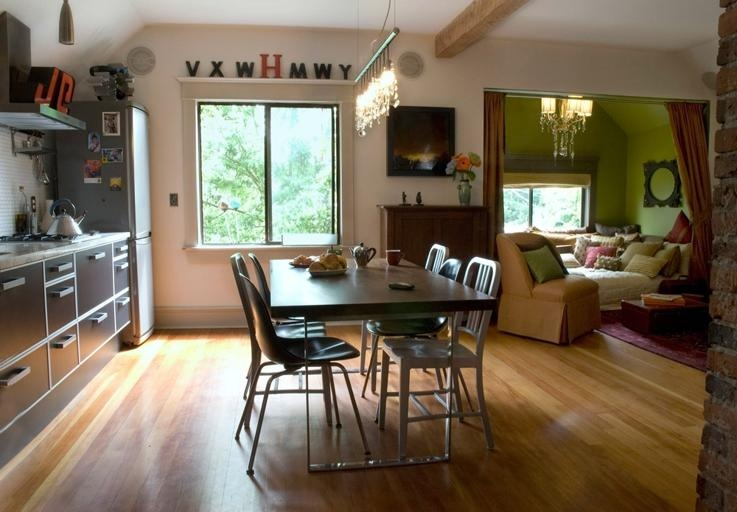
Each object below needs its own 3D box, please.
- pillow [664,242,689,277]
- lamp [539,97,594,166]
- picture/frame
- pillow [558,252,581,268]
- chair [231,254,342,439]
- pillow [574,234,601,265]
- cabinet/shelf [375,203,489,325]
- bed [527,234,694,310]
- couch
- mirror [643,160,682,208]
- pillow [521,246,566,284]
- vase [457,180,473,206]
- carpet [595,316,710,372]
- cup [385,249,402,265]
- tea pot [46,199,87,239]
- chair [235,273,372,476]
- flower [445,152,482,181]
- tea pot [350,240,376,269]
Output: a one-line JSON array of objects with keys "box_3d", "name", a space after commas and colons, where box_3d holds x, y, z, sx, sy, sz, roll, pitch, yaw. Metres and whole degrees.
[{"box_3d": [3.951, 0.057, 7.007, 0.112, 0.391, 0.395, 7, 7, 0], "name": "pillow"}, {"box_3d": [2.944, -1.871, 8.088, 0.737, 1.254, 0.778, -8, 13, -32], "name": "lamp"}, {"box_3d": [0.557, -1.320, 6.095, 0.766, 0.790, 0.076, 0, 3, -9], "name": "picture/frame"}, {"box_3d": [2.867, 0.074, 7.714, 0.331, 0.122, 0.429, 1, 17, 3], "name": "pillow"}, {"box_3d": [-0.782, 0.559, 4.268, 1.044, 1.654, 1.009, -1, 0, -8], "name": "chair"}, {"box_3d": [3.168, -0.068, 7.774, 0.150, 0.411, 0.331, 11, 4, -23], "name": "pillow"}, {"box_3d": [0.677, 0.035, 6.145, 1.490, 1.521, 0.593, -1, 1, -12], "name": "cabinet/shelf"}, {"box_3d": [3.469, 0.251, 7.122, 1.279, 0.630, 1.401, 0, 3, -5], "name": "bed"}, {"box_3d": [1.754, 0.274, 5.628, 1.082, 1.395, 1.128, -4, 3, -44], "name": "couch"}, {"box_3d": [4.406, -1.075, 8.027, 0.117, 0.948, 0.754, 1, 0, -21], "name": "mirror"}, {"box_3d": [1.886, 0.103, 5.670, 0.371, 0.433, 0.127, -3, -30, -25], "name": "pillow"}, {"box_3d": [1.081, -0.721, 6.086, 0.146, 0.280, 0.277, 1, 13, 6], "name": "vase"}, {"box_3d": [2.788, 0.868, 5.363, 0.987, 0.111, 1.136, 9, 16, 33], "name": "carpet"}, {"box_3d": [0.201, 0.023, 4.296, 0.116, 0.090, 0.100, 1, 1, -4], "name": "cup"}, {"box_3d": [-2.602, -0.358, 4.803, 0.435, 0.444, 0.396, -1, -1, -25], "name": "tea pot"}, {"box_3d": [-0.395, 0.672, 4.040, 1.112, 1.636, 1.009, -1, 5, -13], "name": "chair"}, {"box_3d": [1.078, -1.008, 6.120, 0.367, 0.342, 0.462, 3, 14, 14], "name": "flower"}, {"box_3d": [-0.051, -0.033, 4.272, 0.285, 0.247, 0.182, 0, 6, -2], "name": "tea pot"}]
